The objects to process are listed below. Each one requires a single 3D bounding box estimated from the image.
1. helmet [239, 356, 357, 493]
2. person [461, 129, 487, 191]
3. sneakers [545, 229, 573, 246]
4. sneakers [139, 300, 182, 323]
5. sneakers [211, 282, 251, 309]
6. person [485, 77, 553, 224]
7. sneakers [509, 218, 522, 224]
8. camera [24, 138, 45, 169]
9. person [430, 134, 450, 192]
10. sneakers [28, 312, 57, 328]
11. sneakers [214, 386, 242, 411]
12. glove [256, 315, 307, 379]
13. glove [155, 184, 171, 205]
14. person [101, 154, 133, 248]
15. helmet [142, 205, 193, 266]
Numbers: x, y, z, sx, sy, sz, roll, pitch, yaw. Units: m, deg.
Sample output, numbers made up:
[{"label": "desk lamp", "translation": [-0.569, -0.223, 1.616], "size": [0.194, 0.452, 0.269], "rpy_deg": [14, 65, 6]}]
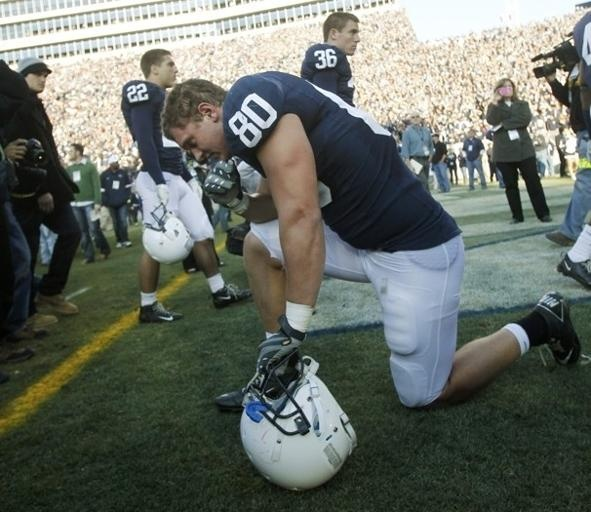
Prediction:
[{"label": "helmet", "translation": [-0.009, 0.550, 1.668], "size": [0.280, 0.362, 0.323], "rpy_deg": [-47, 10, -4]}, {"label": "person", "translation": [4.518, -2.443, 12.267], "size": [0.459, 1.543, 0.430], "rpy_deg": [-2, 17, 31]}, {"label": "sneakers", "translation": [2.202, -0.140, 4.039], "size": [0.220, 0.108, 0.076], "rpy_deg": [40, 12, 27]}, {"label": "sneakers", "translation": [-0.947, 0.395, 3.523], "size": [0.352, 0.193, 0.135], "rpy_deg": [0, 3, -2]}, {"label": "sneakers", "translation": [-0.502, 0.274, 3.811], "size": [0.361, 0.178, 0.129], "rpy_deg": [-16, 21, -39]}, {"label": "person", "translation": [2.538, -1.250, 5.619], "size": [0.473, 1.827, 0.501], "rpy_deg": [-7, -9, 24]}, {"label": "sneakers", "translation": [2.541, -0.402, 5.608], "size": [0.141, 0.074, 0.056], "rpy_deg": [4, 7, -1]}, {"label": "camera", "translation": [-1.804, -0.719, 3.387], "size": [0.132, 0.204, 0.184], "rpy_deg": [-8, 26, -24]}, {"label": "person", "translation": [3.655, -2.397, 12.469], "size": [0.484, 1.633, 0.451], "rpy_deg": [2, 25, 39]}, {"label": "sneakers", "translation": [-1.952, 0.486, 3.716], "size": [0.183, 0.101, 0.074], "rpy_deg": [-3, 12, -19]}, {"label": "sneakers", "translation": [-0.293, 0.627, 2.135], "size": [0.137, 0.076, 0.074], "rpy_deg": [1, 12, -12]}, {"label": "glove", "translation": [-0.086, 0.327, 1.654], "size": [0.101, 0.282, 0.131], "rpy_deg": [41, 42, 12]}, {"label": "glove", "translation": [-0.942, -0.440, 3.428], "size": [0.089, 0.136, 0.052], "rpy_deg": [-24, 4, 42]}, {"label": "person", "translation": [-3.132, -0.933, 8.423], "size": [0.432, 1.580, 0.461], "rpy_deg": [-7, 0, -1]}, {"label": "helmet", "translation": [-0.886, -0.155, 3.420], "size": [0.339, 0.293, 0.316], "rpy_deg": [33, 6, -3]}]
